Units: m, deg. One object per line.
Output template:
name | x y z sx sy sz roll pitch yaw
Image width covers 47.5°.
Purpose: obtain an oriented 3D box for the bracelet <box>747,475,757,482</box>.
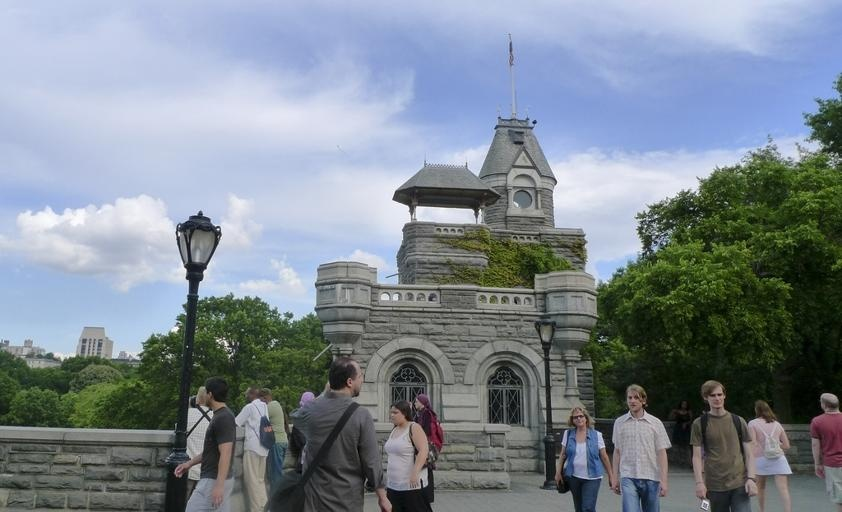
bracelet | 10.300 6.989 30.098 0.285 0.182 0.364 4 -10 17
